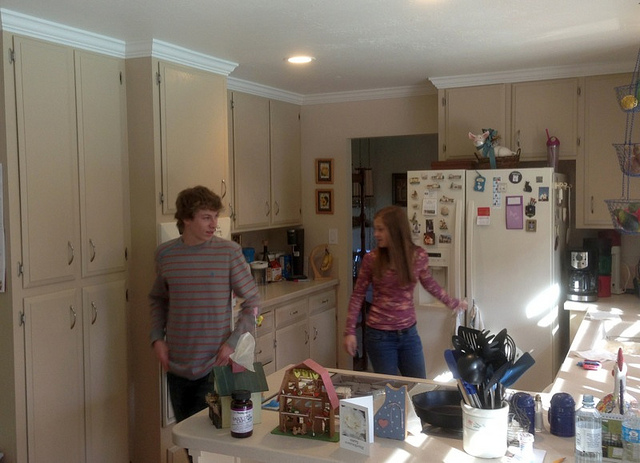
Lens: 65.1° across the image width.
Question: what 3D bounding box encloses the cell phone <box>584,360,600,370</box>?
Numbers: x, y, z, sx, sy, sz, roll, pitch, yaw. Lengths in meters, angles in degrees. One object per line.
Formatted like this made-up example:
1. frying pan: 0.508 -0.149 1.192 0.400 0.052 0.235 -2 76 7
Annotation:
1. cell phone: 1.429 0.703 2.636 0.043 0.033 0.073 -1 3 24

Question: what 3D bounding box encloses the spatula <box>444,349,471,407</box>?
1. spatula: 0.512 0.537 1.904 0.044 0.296 0.044 -22 19 12

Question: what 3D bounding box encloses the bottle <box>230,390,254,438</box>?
1. bottle: -0.318 0.735 2.022 0.095 0.172 0.098 -1 -7 0

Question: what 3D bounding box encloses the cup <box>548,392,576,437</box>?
1. cup: 0.962 0.735 2.022 0.114 0.157 0.092 2 7 44

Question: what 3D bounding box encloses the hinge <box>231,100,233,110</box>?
1. hinge: -0.738 -1.062 4.210 0.004 0.058 0.018 0 5 30

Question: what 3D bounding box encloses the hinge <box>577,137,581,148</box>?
1. hinge: 2.065 -0.715 4.002 0.023 0.075 0.004 -1 5 19

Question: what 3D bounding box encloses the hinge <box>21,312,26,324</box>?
1. hinge: -1.688 0.497 2.853 0.010 0.046 0.041 3 -12 -16

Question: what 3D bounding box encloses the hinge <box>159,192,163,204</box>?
1. hinge: -1.067 -0.224 3.370 0.009 0.072 0.023 1 6 39

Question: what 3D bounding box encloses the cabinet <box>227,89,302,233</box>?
1. cabinet: -0.528 -0.639 4.633 0.393 1.173 0.645 4 6 38

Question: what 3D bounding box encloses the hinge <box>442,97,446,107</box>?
1. hinge: 1.070 -1.114 4.330 0.026 0.082 0.013 -1 5 15

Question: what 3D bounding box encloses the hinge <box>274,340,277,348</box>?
1. hinge: -0.377 0.955 4.248 0.014 0.049 0.030 4 -19 -26

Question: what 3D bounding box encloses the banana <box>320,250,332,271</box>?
1. banana: 0.070 0.299 5.059 0.111 0.210 0.066 -5 5 -23

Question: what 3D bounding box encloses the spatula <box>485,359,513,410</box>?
1. spatula: 0.657 0.566 1.822 0.047 0.232 0.060 26 -25 22

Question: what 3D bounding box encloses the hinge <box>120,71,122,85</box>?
1. hinge: -1.327 -1.026 3.349 0.004 0.083 0.019 0 5 31

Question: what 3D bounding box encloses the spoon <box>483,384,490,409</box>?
1. spoon: 0.607 0.599 1.835 0.017 0.099 0.013 4 4 -4

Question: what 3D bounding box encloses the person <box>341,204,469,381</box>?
1. person: 0.461 0.387 3.072 0.653 1.068 0.254 -3 5 0

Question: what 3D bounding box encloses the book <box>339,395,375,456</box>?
1. book: 0.138 0.739 1.927 0.133 0.191 0.121 -3 5 2

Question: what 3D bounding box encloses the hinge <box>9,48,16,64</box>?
1. hinge: -1.705 -0.972 2.779 0.060 0.066 0.017 -1 -2 22

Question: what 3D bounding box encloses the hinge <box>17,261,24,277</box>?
1. hinge: -1.692 0.212 2.837 0.009 0.086 0.034 1 6 37

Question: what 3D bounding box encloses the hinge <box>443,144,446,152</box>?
1. hinge: 1.081 -0.725 4.362 0.042 0.063 0.014 4 7 36

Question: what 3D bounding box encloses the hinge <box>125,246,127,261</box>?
1. hinge: -1.313 0.153 3.399 0.003 0.081 0.022 -1 5 24

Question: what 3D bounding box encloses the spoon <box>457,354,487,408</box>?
1. spoon: 0.561 0.549 1.823 0.111 0.202 0.055 -4 5 -15

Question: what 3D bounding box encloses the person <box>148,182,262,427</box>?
1. person: -0.661 0.395 2.734 0.625 1.271 0.252 -2 5 14
